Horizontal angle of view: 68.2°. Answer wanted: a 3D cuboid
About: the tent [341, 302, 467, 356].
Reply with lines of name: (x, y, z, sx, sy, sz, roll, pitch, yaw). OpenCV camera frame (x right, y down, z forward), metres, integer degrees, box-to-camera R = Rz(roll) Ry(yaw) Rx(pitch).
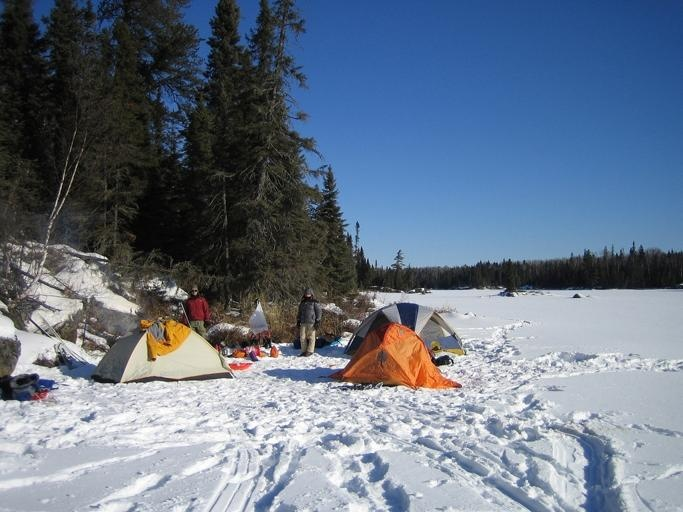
tent: (1.812, 2.058, 15.228, 2.039, 1.156, 2.444, -3, -7, 40)

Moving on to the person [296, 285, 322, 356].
person: (-1.042, 2.082, 15.738, 0.685, 2.197, 1.142, 0, 8, -6)

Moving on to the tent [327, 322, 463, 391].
tent: (1.394, 2.680, 12.827, 2.539, 1.255, 1.454, 0, -7, 17)

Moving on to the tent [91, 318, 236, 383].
tent: (-4.504, 2.510, 12.532, 1.800, 1.109, 2.102, -4, -12, 33)

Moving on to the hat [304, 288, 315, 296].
hat: (-1.014, 1.148, 15.533, 0.281, 0.300, 0.310, 0, -8, 2)
